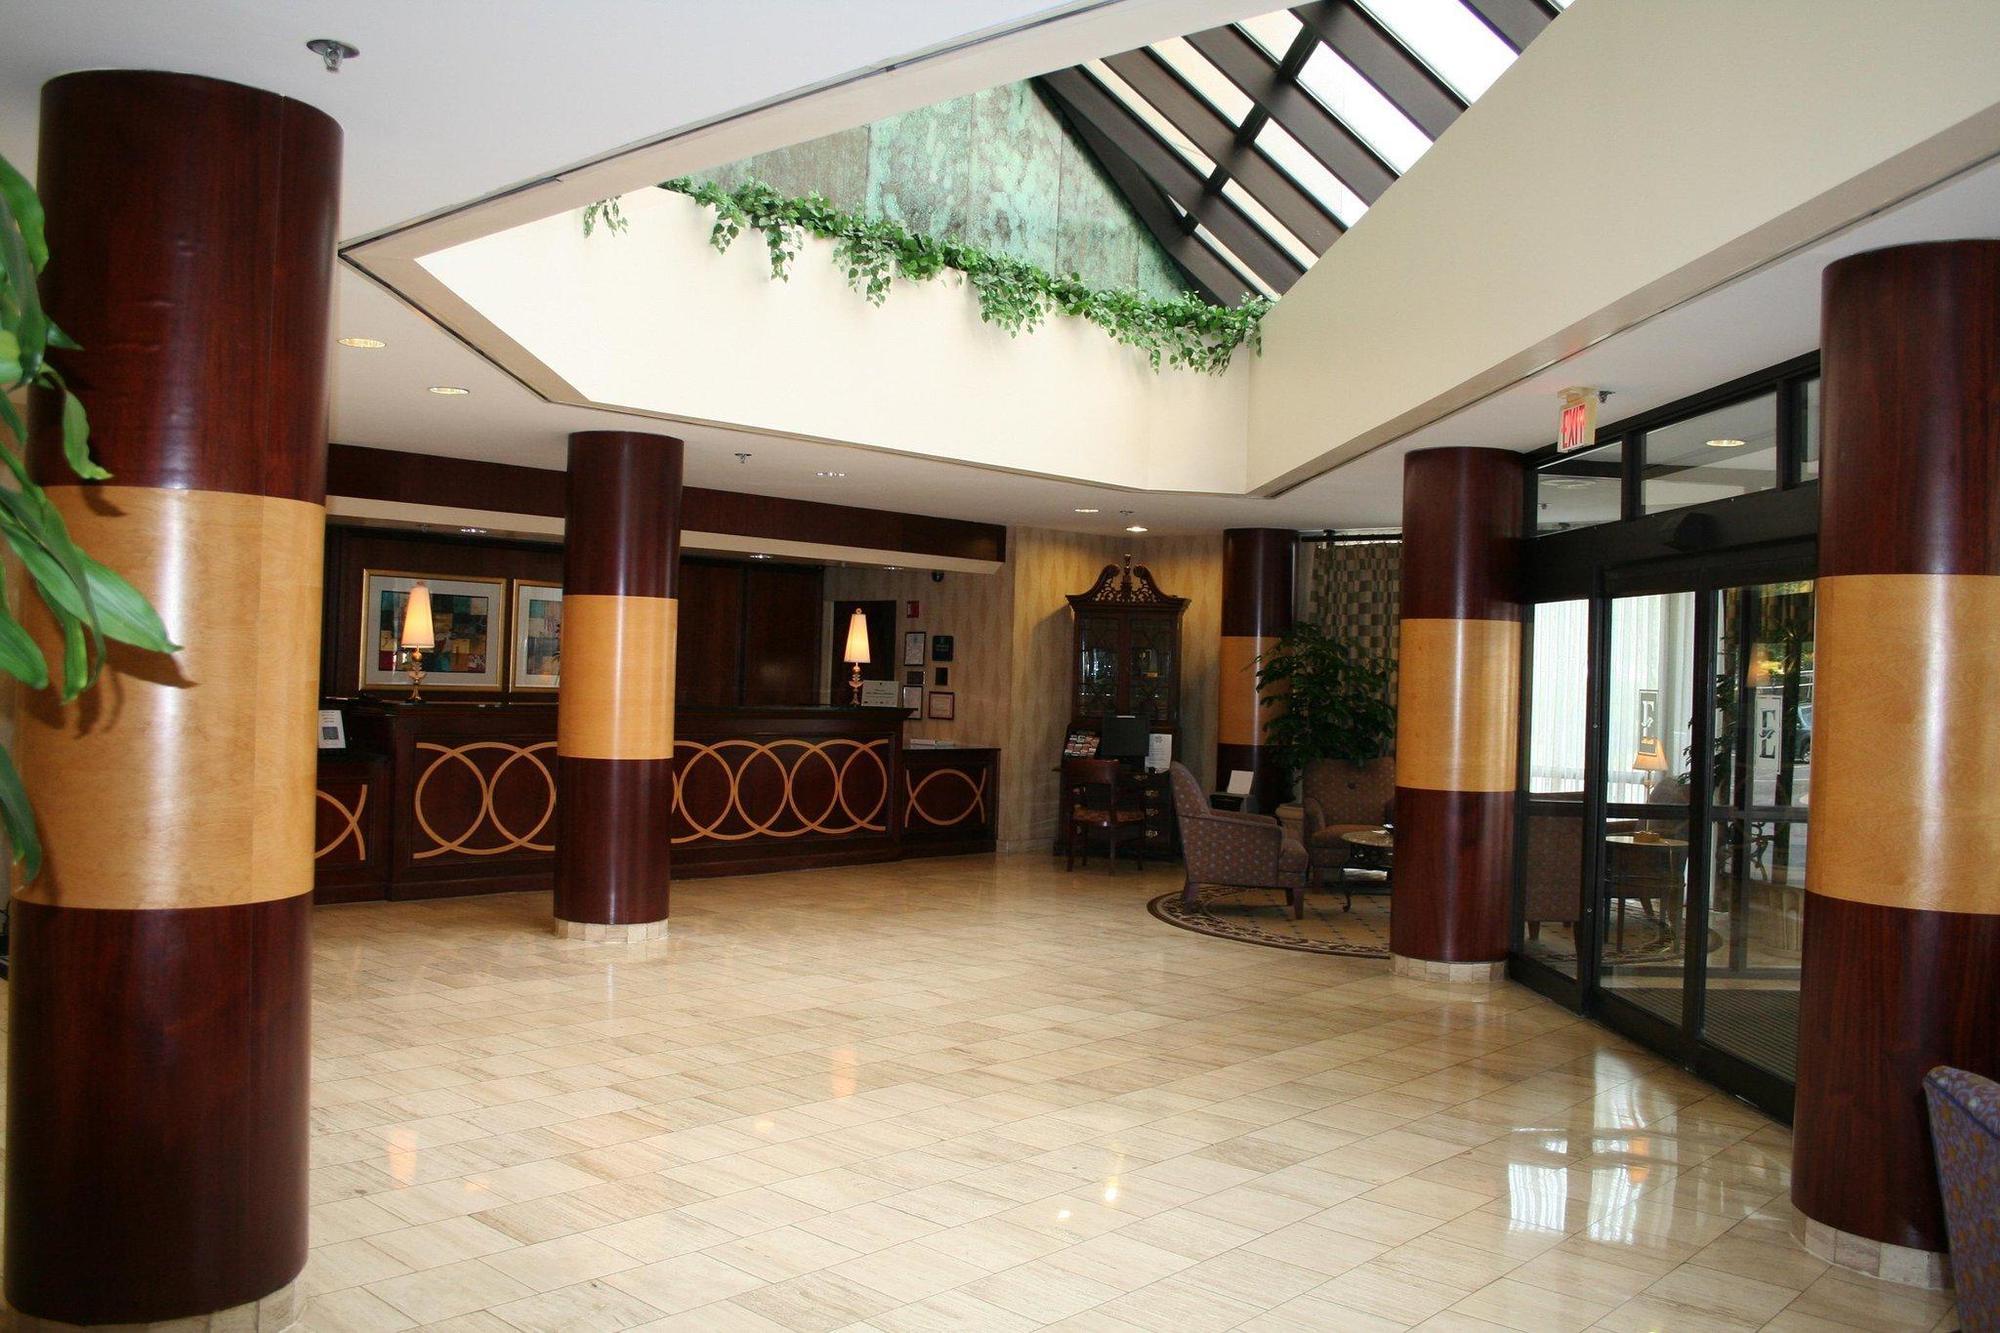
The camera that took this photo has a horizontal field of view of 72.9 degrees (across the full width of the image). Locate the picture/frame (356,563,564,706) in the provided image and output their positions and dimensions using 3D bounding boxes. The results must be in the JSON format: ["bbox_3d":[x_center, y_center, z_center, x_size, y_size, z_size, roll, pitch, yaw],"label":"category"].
[{"bbox_3d":[-5.388,-0.353,13.664,1.948,1.196,0.176,-1,5,-41],"label":"picture/frame"}]

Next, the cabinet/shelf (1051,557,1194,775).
[{"bbox_3d":[1.253,-0.153,13.678,1.129,1.734,0.469,2,3,3],"label":"cabinet/shelf"}]

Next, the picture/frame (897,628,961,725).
[{"bbox_3d":[-0.772,0.085,14.738,0.197,0.996,0.875,-1,4,-39],"label":"picture/frame"}]
